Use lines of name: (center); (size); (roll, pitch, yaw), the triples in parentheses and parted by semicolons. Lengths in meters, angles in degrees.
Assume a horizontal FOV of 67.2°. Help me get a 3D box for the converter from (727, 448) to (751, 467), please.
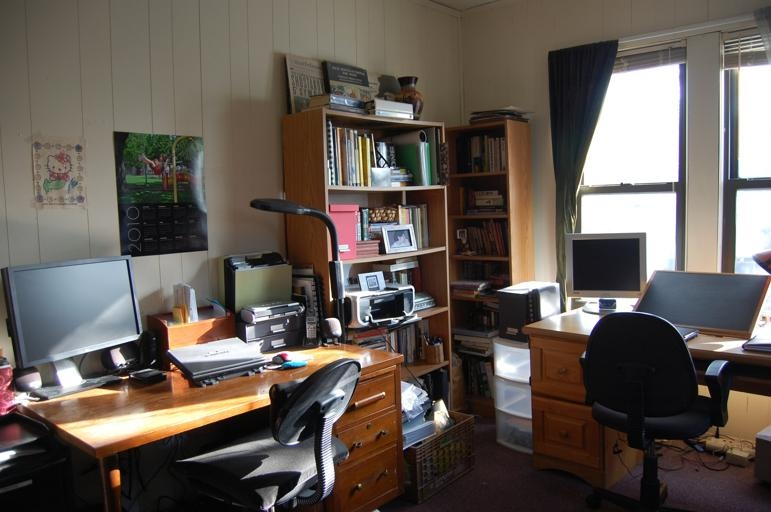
converter: (2.366, 1.343, 3.917); (0.116, 0.083, 0.115); (4, 6, 37)

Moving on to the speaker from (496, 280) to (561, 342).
speaker: (1.014, 0.374, 4.347); (0.646, 0.447, 0.364); (-12, 11, -41)

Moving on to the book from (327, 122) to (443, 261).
book: (-0.019, -0.495, 4.222); (0.351, 0.931, 1.088); (-3, -1, 39)

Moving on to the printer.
printer: (-0.085, 0.244, 4.049); (0.348, 0.318, 0.496); (0, 3, 39)

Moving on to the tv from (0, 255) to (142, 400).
tv: (-1.713, 0.385, 3.132); (0.307, 0.780, 0.701); (-3, 3, 37)

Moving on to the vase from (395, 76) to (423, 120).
vase: (0.179, -1.199, 4.454); (0.205, 0.318, 0.204); (10, 42, 27)

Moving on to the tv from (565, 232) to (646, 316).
tv: (1.540, 0.112, 4.053); (0.598, 0.589, 0.209); (0, -1, 21)

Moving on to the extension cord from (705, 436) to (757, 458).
extension cord: (2.358, 1.316, 4.026); (0.161, 0.049, 0.163); (4, 9, 43)
